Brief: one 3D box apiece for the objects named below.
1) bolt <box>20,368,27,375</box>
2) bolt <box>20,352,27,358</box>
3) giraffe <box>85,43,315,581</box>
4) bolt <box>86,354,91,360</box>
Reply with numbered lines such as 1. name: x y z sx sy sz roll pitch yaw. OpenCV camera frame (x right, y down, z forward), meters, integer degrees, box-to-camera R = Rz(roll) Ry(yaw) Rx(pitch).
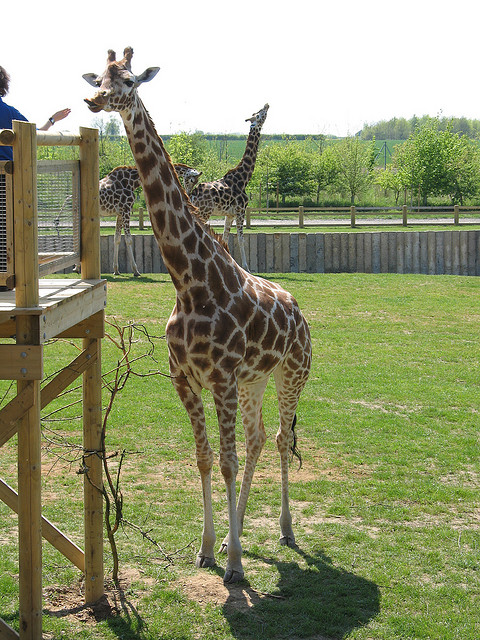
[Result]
1. bolt: -1.213 0.292 6.509 0.024 0.034 0.007 5 8 2
2. bolt: -1.217 0.198 6.504 0.023 0.032 0.006 4 8 -6
3. giraffe: -0.158 -0.073 8.157 0.804 3.507 1.956 10 13 44
4. bolt: -0.989 0.246 7.562 0.038 0.035 0.008 -9 13 -41
